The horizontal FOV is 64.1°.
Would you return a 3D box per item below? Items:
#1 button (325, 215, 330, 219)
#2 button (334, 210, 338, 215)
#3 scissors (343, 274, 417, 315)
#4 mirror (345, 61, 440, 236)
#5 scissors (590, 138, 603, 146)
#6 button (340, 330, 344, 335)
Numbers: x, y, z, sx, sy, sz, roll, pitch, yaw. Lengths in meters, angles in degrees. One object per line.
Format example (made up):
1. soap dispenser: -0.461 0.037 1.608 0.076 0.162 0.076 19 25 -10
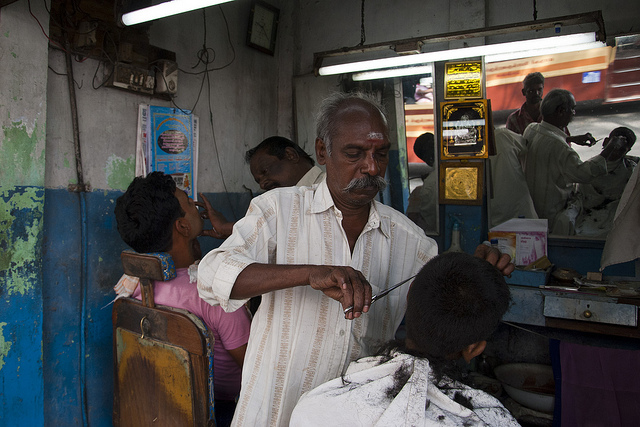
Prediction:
1. button: 0.045 0.017 2.707 0.020 0.019 0.005 8 -2 -4
2. button: 0.090 -0.011 2.700 0.021 0.021 0.006 -6 -7 24
3. scissors: 0.297 0.402 2.541 0.597 0.051 0.088 -18 -13 -37
4. mirror: 0.697 -0.580 4.868 0.915 1.674 0.058 7 24 35
5. scissors: 2.265 -0.588 4.152 0.078 0.059 0.014 1 6 13
6. button: 0.120 0.613 2.648 0.018 0.018 0.006 7 0 -9
